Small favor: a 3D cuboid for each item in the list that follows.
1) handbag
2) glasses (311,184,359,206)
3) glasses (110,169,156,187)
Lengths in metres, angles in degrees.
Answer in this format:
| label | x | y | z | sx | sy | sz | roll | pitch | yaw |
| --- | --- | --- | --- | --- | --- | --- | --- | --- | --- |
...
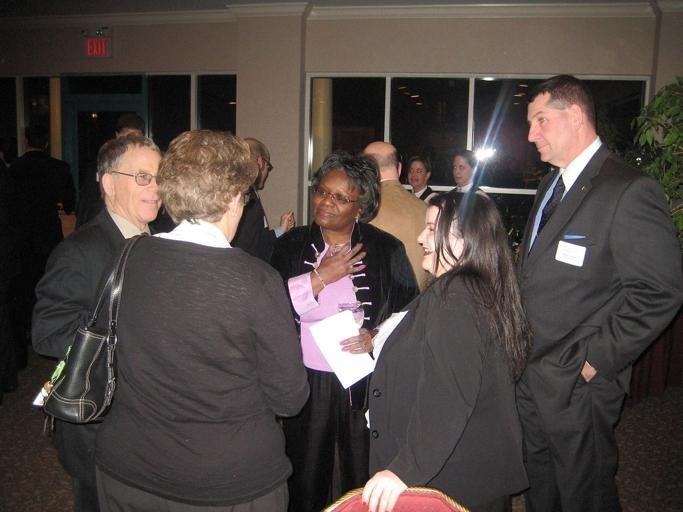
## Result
| label | x | y | z | sx | sy | sz | roll | pitch | yaw |
| --- | --- | --- | --- | --- | --- | --- | --- | --- | --- |
| handbag | -1.067 | 0.473 | 2.322 | 0.292 | 0.396 | 0.099 | 4 | 10 | 11 |
| glasses | -0.076 | -0.340 | 3.220 | 0.300 | 0.101 | 0.141 | 8 | 11 | 30 |
| glasses | -1.028 | -0.376 | 2.800 | 0.216 | 0.076 | 0.046 | 3 | 10 | 6 |
